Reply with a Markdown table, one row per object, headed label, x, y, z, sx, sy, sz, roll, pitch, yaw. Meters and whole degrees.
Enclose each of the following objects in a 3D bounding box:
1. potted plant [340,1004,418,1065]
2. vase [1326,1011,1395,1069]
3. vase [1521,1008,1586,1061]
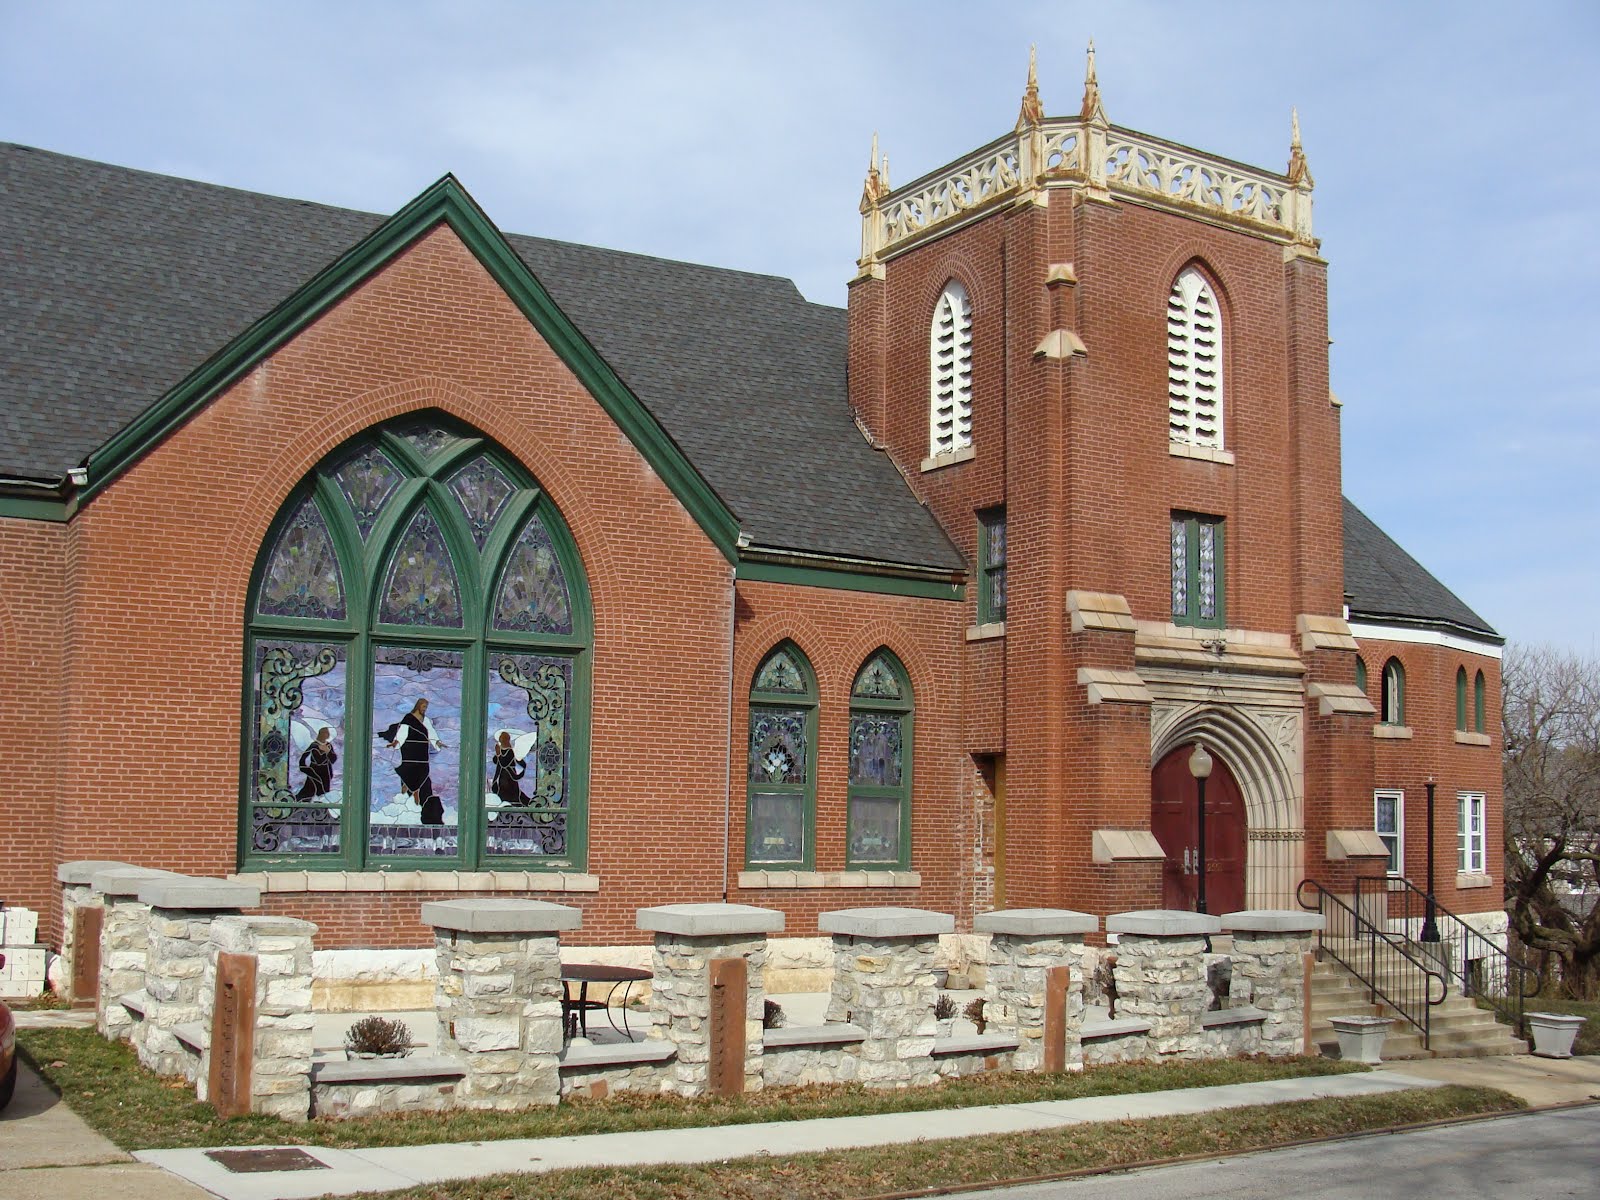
| label | x | y | z | sx | sy | sz | roll | pitch | yaw |
| --- | --- | --- | --- | --- | --- | --- | --- | --- | --- |
| potted plant | -5.060 | 5.264 | 25.040 | 0.913 | 0.525 | 0.899 | 4 | -14 | -9 |
| vase | 8.268 | 6.482 | 31.036 | 0.741 | 0.777 | 0.839 | 1 | -4 | 6 |
| vase | 12.083 | 7.036 | 33.783 | 0.743 | 0.693 | 0.718 | -6 | -13 | 25 |
